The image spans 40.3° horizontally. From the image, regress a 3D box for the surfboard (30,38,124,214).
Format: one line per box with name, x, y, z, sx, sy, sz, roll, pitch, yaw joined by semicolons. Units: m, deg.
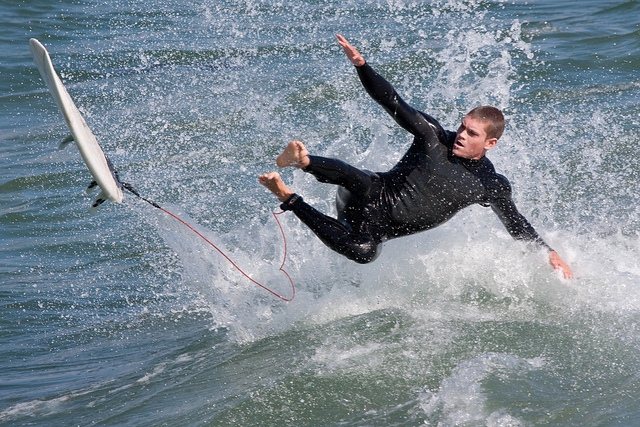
surfboard;-3.030;-1.005;10.579;0.373;1.948;0.556;-30;20;-15
